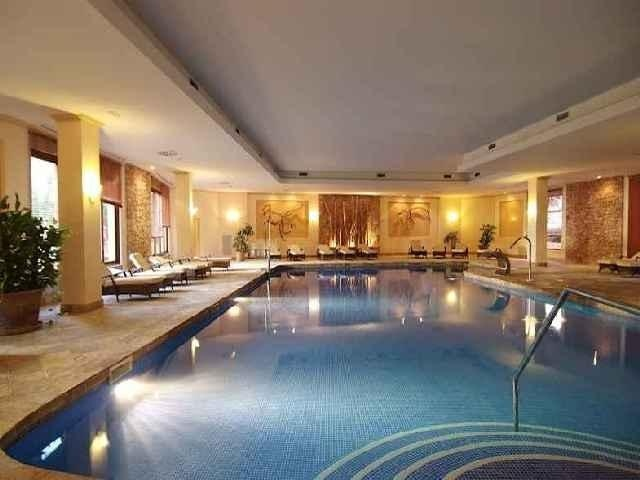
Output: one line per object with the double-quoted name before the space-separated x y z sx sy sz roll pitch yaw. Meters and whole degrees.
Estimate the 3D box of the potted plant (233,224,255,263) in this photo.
"potted plant" -3.607 0.106 18.601 1.004 1.712 1.609 -2 8 -12
